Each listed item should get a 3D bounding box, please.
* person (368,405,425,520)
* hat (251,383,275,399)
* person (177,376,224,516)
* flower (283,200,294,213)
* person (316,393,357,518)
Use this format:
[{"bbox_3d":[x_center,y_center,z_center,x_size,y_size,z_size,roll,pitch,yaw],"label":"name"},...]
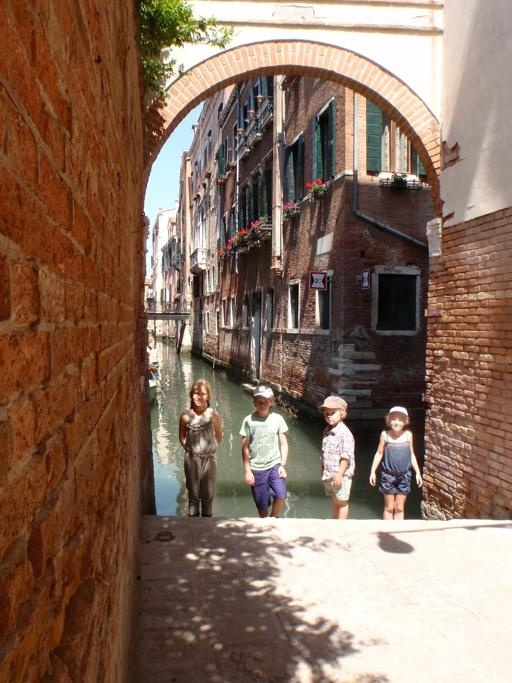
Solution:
[{"bbox_3d":[1.669,1.550,5.734,0.469,1.592,0.385,1,4,14],"label":"person"},{"bbox_3d":[0.084,0.572,5.463,0.186,0.120,0.248,2,0,8],"label":"hat"},{"bbox_3d":[-0.621,1.281,5.503,0.345,1.884,0.373,-2,17,-12],"label":"person"},{"bbox_3d":[1.029,-4.312,15.212,0.310,0.489,0.440,0,-3,12],"label":"flower"},{"bbox_3d":[0.945,1.386,5.665,0.382,1.233,0.758,1,0,9],"label":"person"}]
